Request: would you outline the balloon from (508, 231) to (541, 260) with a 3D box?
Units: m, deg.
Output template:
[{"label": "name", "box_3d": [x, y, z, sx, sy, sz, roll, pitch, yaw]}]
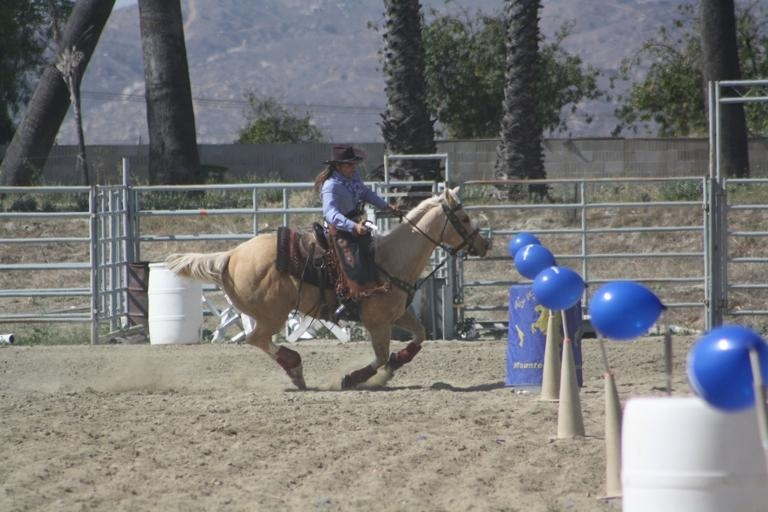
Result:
[{"label": "balloon", "box_3d": [3.311, -0.233, 35.932, 0.526, 0.756, 0.587, 0, 9, 2]}]

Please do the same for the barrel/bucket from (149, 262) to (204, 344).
[{"label": "barrel/bucket", "box_3d": [-5.272, 1.276, 39.011, 1.594, 2.779, 1.760, 0, -5, -7]}]

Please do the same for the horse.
[{"label": "horse", "box_3d": [-1.377, 0.932, 36.314, 7.061, 5.443, 1.922, 0, 15, 1]}]

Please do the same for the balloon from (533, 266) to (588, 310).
[{"label": "balloon", "box_3d": [3.850, 0.742, 33.823, 0.940, 1.065, 0.926, -2, 22, 17]}]

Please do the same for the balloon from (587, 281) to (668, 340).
[{"label": "balloon", "box_3d": [5.178, 1.089, 32.857, 1.302, 1.220, 1.108, 2, -15, 0]}]
